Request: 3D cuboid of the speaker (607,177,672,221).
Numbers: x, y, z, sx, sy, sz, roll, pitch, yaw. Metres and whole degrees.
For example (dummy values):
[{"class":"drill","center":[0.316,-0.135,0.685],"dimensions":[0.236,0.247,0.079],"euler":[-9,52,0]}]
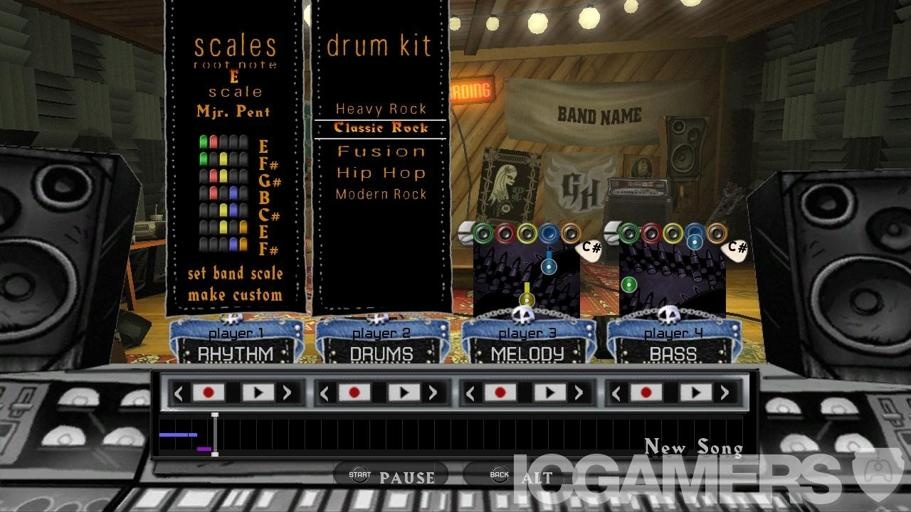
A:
[{"class":"speaker","center":[2.178,-0.662,8.000],"dimensions":[0.602,0.474,0.294],"euler":[1,7,8]}]
